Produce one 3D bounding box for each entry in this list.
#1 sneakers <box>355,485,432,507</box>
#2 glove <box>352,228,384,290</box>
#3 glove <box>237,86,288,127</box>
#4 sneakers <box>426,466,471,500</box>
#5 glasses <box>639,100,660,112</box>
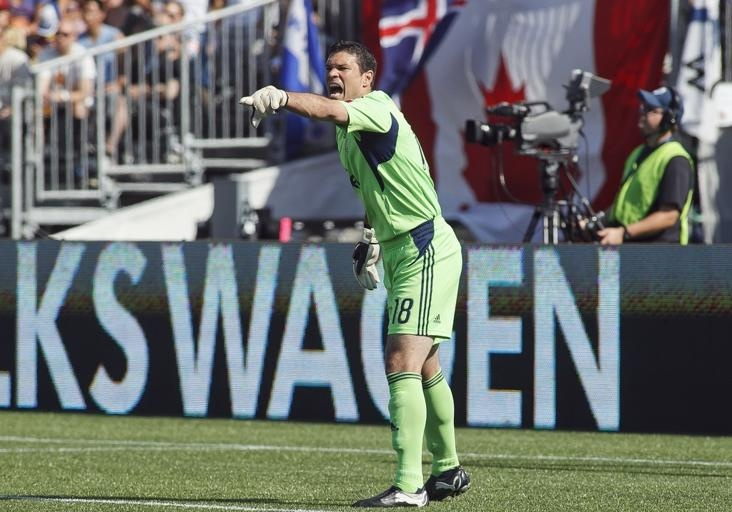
[{"bbox_3d":[0.222,1.868,16.096,0.557,0.184,0.201,2,-9,-9],"label":"sneakers"},{"bbox_3d":[0.050,-0.019,16.657,0.274,0.454,0.168,21,21,35],"label":"glove"},{"bbox_3d":[-0.801,-1.168,15.642,0.323,0.325,0.161,-32,18,-14],"label":"glove"},{"bbox_3d":[0.655,1.776,16.370,0.436,0.212,0.162,-21,-1,-1],"label":"sneakers"},{"bbox_3d":[2.568,-1.352,18.385,0.145,0.044,0.091,16,21,-32],"label":"glasses"}]
